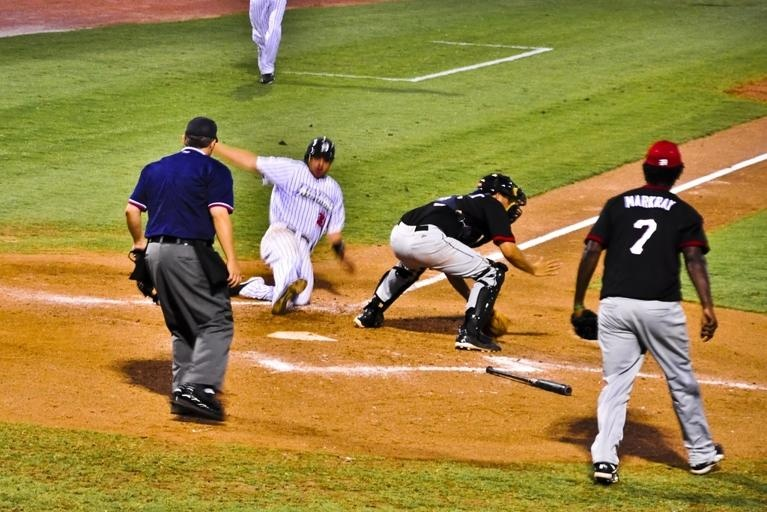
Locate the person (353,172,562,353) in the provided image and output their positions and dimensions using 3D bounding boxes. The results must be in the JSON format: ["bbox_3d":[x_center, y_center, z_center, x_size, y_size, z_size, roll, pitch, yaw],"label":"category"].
[{"bbox_3d":[0.846,0.065,14.858,1.920,2.061,0.943,3,15,0],"label":"person"}]

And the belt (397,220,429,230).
[{"bbox_3d":[0.326,-0.342,14.677,0.405,0.082,0.095,10,15,36],"label":"belt"}]

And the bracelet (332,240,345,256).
[{"bbox_3d":[-0.576,-0.095,15.716,0.154,0.192,0.220,2,13,-3],"label":"bracelet"}]

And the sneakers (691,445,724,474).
[{"bbox_3d":[3.374,2.136,12.881,0.198,0.181,0.534,-3,5,43],"label":"sneakers"}]

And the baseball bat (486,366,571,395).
[{"bbox_3d":[1.601,1.449,14.120,0.947,0.105,0.148,10,-17,32],"label":"baseball bat"}]

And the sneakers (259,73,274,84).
[{"bbox_3d":[-2.213,-3.360,23.579,0.186,0.145,0.257,5,27,-2],"label":"sneakers"}]

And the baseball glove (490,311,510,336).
[{"bbox_3d":[1.311,0.847,15.186,0.381,0.237,0.260,7,5,2],"label":"baseball glove"}]

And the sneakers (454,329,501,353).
[{"bbox_3d":[1.067,1.026,14.703,0.651,0.206,0.223,2,6,-9],"label":"sneakers"}]

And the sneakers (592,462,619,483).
[{"bbox_3d":[2.201,2.210,12.509,0.157,0.120,0.324,2,0,21],"label":"sneakers"}]

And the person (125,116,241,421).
[{"bbox_3d":[-2.038,0.147,13.048,0.937,3.115,1.186,-4,17,-26],"label":"person"}]

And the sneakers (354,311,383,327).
[{"bbox_3d":[-0.195,0.796,15.327,0.372,0.135,0.193,-2,10,-23],"label":"sneakers"}]

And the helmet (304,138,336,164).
[{"bbox_3d":[-0.782,-1.328,15.675,0.349,0.299,0.395,19,-2,-5],"label":"helmet"}]
